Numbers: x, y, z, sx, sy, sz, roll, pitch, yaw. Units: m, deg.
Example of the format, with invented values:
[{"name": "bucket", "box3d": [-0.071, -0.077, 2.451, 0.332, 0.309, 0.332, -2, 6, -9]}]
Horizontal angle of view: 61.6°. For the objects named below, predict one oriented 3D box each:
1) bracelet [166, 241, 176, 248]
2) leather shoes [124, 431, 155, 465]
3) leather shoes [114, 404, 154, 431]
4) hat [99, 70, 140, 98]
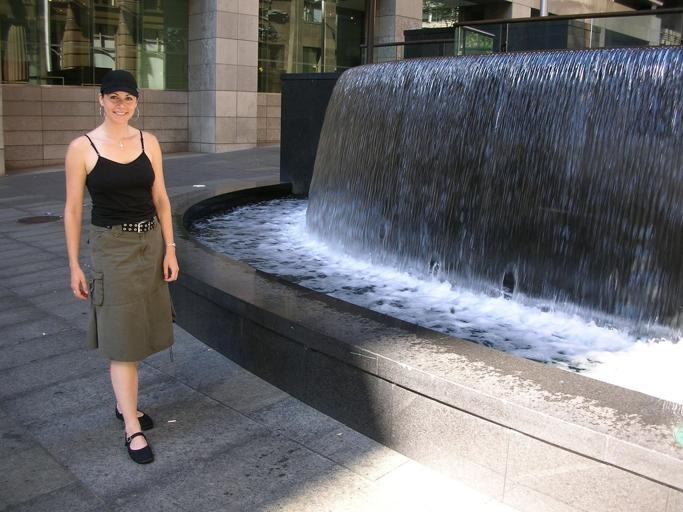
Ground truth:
[{"name": "bracelet", "box3d": [-1.150, -0.083, 3.844, 0.084, 0.045, 0.072, -1, -3, 32]}, {"name": "leather shoes", "box3d": [-1.224, 1.156, 3.470, 0.099, 0.088, 0.264, -5, 8, -32]}, {"name": "leather shoes", "box3d": [-1.365, 1.064, 3.776, 0.297, 0.088, 0.108, 8, 7, 42]}, {"name": "hat", "box3d": [-1.334, -1.023, 3.414, 0.176, 0.111, 0.227, -1, 12, -27]}]
